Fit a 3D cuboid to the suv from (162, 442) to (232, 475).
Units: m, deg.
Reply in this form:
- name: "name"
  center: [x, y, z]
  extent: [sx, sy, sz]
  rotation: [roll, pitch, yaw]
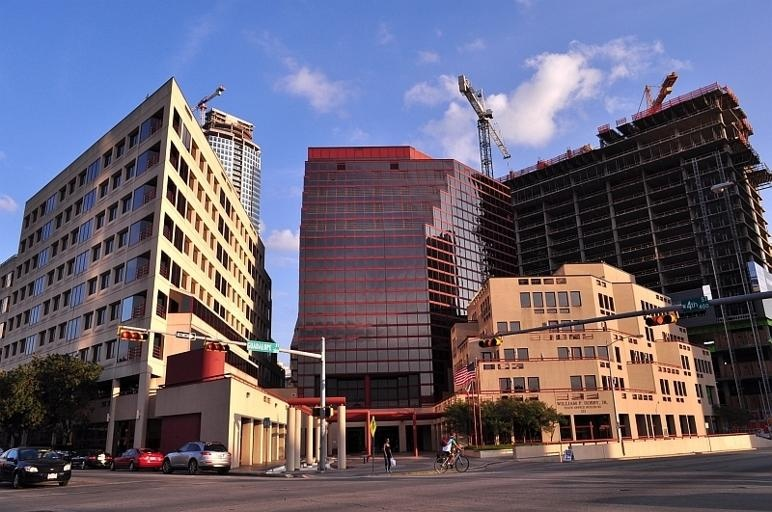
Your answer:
- name: "suv"
  center: [-15.814, 16.919, 50.068]
  extent: [5.172, 2.501, 1.958]
  rotation: [-10, -25, 20]

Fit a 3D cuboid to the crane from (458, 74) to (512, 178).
- name: "crane"
  center: [30.763, -37.076, 187.190]
  extent: [7.276, 35.253, 37.688]
  rotation: [-11, -21, 25]
